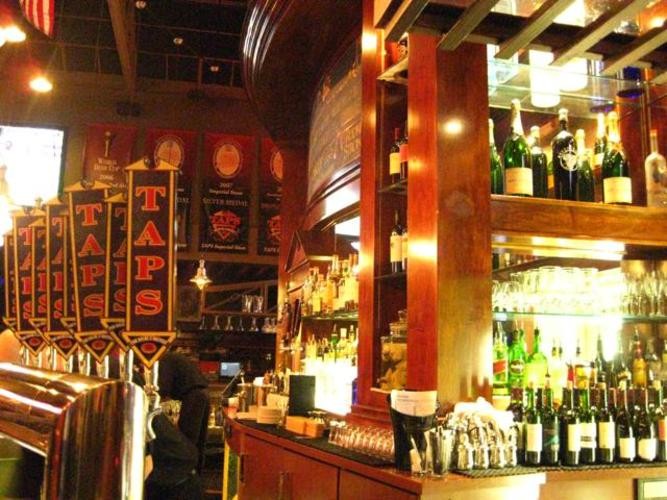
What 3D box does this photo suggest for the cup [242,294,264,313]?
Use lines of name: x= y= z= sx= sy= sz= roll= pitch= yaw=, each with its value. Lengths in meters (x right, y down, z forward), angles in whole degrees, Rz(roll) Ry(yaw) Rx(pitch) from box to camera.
cup: x=-1.684 y=1.189 z=14.162 sx=0.421 sy=0.375 sz=0.350 roll=5 pitch=-18 yaw=-17

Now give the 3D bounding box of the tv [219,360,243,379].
tv: x=-2.016 y=2.334 z=13.210 sx=0.403 sy=0.284 sz=0.356 roll=2 pitch=-9 yaw=-10

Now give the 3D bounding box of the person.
person: x=-1.406 y=1.452 z=6.396 sx=0.605 sy=0.975 sz=0.576 roll=6 pitch=-11 yaw=-29
